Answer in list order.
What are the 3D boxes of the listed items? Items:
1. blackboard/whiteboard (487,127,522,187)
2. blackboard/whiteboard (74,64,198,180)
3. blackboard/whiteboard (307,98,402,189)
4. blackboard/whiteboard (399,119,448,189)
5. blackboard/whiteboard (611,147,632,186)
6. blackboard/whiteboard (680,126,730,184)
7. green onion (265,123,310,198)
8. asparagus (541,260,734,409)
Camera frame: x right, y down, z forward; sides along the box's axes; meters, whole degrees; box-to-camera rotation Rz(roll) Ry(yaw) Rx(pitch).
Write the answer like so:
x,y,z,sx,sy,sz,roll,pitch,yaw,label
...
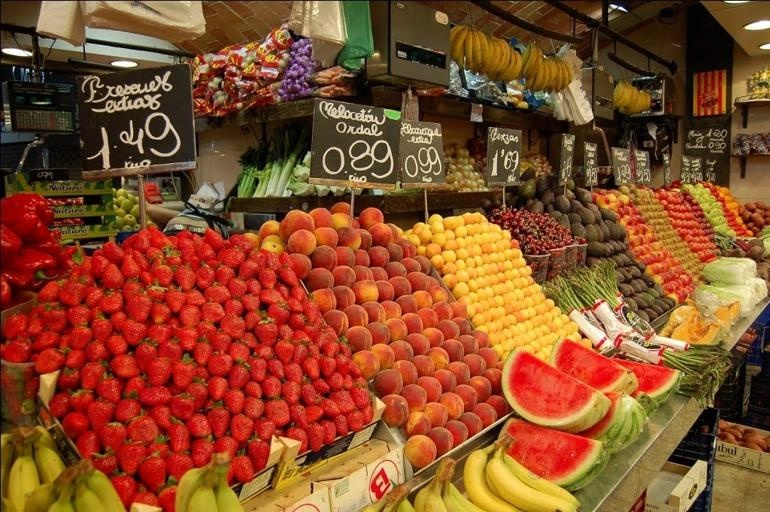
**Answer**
x,y,z,sx,sy,sz,roll,pitch,yaw,label
0.943,-0.784,4.075,0.151,0.451,0.506,4,8,42,blackboard/whiteboard
-1.224,-0.659,2.528,0.614,0.534,0.051,-4,-3,8,blackboard/whiteboard
-0.170,-0.643,2.938,0.606,0.510,0.257,-11,20,-25,blackboard/whiteboard
0.251,-0.701,3.484,0.154,0.459,0.486,4,8,45,blackboard/whiteboard
2.588,-0.985,5.596,0.050,0.657,0.647,-3,-2,36,blackboard/whiteboard
5.448,-1.756,8.625,0.746,1.078,1.842,2,7,30,blackboard/whiteboard
-0.909,-1.015,5.131,0.254,0.930,0.298,7,-30,16,green onion
1.601,0.467,3.561,0.770,0.497,1.370,-16,45,-42,asparagus
